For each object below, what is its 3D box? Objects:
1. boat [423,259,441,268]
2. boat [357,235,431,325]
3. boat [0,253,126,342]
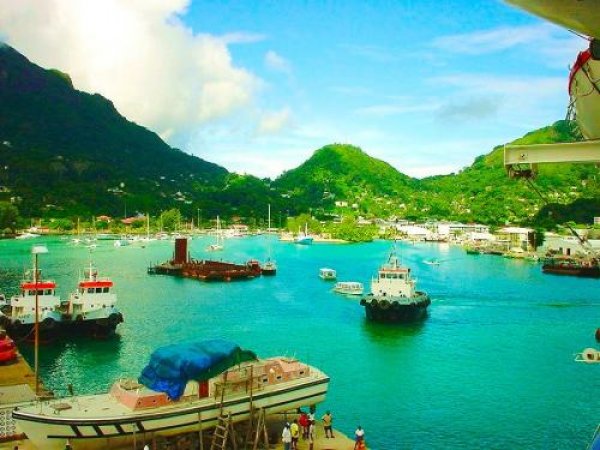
[{"bbox_3d":[29.516,9.060,103.249,2.715,1.046,1.819,-1,5,-39],"label":"boat"},{"bbox_3d":[10.931,7.487,51.423,4.618,5.810,10.697,0,0,19],"label":"boat"},{"bbox_3d":[-21.122,7.584,40.332,7.280,5.227,10.721,1,1,-35],"label":"boat"}]
